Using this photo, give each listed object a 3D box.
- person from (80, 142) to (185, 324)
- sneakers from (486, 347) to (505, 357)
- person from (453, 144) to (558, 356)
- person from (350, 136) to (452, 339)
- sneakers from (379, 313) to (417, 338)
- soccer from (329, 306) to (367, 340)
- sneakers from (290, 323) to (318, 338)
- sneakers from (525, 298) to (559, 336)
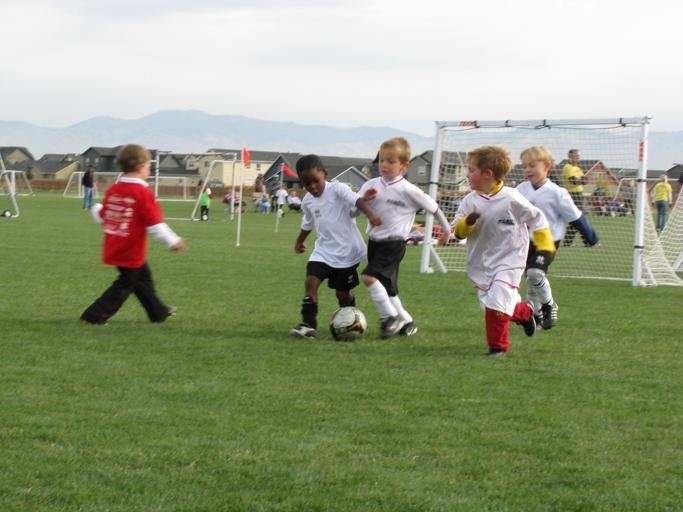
[{"bbox_3d":[-1.903,-0.169,6.654,0.880,1.656,0.712,-2,12,-18],"label":"person"},{"bbox_3d":[1.277,0.799,6.092,0.074,0.072,0.115,1,-17,2],"label":"sneakers"},{"bbox_3d":[1.308,-0.044,6.103,0.756,1.698,0.558,4,12,12],"label":"person"},{"bbox_3d":[0.521,-0.140,6.618,0.745,1.802,0.606,2,11,0],"label":"person"},{"bbox_3d":[0.507,0.643,6.664,0.135,0.160,0.404,-19,-15,39],"label":"sneakers"},{"bbox_3d":[0.020,0.608,6.677,0.402,0.360,0.352,4,-10,8],"label":"soccer"},{"bbox_3d":[-0.332,0.672,6.545,0.267,0.099,0.097,6,-6,-15],"label":"sneakers"},{"bbox_3d":[1.885,0.584,6.981,0.121,0.317,0.156,26,35,27],"label":"sneakers"}]
